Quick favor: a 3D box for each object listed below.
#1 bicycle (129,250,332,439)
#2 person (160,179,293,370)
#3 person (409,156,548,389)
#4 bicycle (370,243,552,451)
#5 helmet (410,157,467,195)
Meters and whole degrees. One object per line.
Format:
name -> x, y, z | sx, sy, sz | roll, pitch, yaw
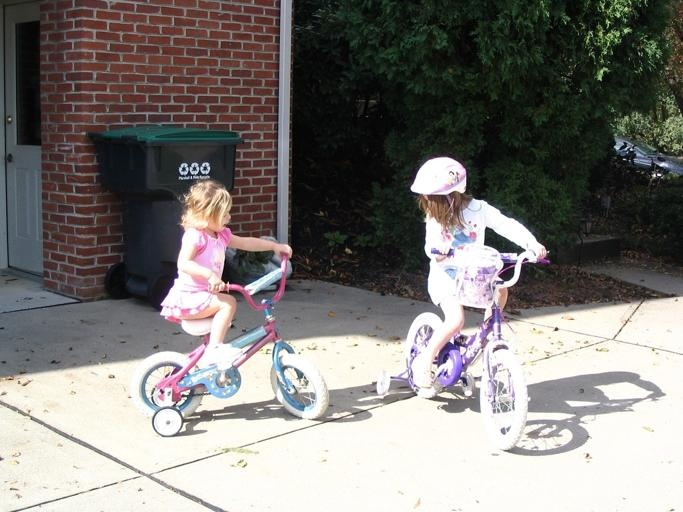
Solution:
bicycle -> -0.743, 0.628, 5.336 | 1.286, 1.026, 0.796 | -1, 11, -2
person -> -0.727, 0.148, 5.255 | 0.899, 1.264, 0.839 | -2, 10, -14
person -> 0.857, 0.083, 5.483 | 0.979, 1.546, 0.815 | -14, 18, -24
bicycle -> 0.916, 0.571, 5.728 | 0.858, 1.313, 1.933 | 7, 3, -16
helmet -> 0.662, -0.582, 5.523 | 0.468, 0.249, 0.336 | -3, 19, -27
